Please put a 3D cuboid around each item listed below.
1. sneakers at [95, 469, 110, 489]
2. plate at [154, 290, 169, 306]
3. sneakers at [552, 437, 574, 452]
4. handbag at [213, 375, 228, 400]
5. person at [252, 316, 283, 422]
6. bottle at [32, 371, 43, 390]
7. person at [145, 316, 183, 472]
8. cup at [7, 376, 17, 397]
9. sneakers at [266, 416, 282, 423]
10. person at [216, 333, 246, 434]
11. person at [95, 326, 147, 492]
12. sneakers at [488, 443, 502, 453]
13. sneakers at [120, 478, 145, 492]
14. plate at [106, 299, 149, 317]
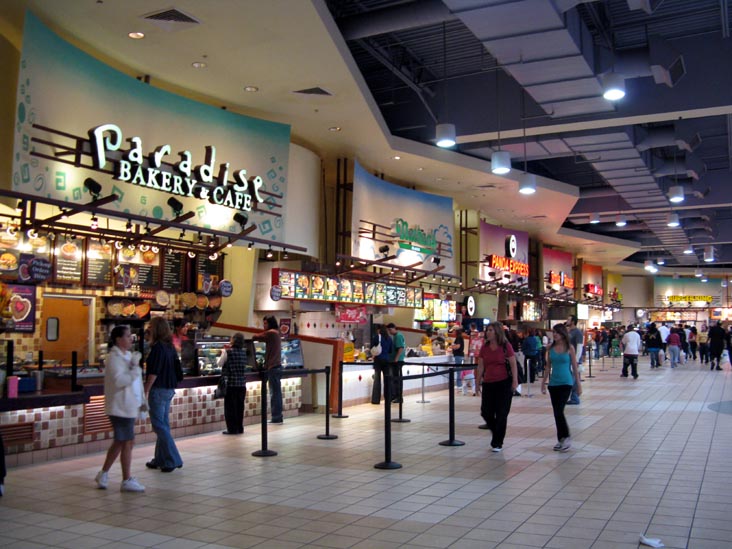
[{"bbox_3d":[-2.686,2.097,5.603,0.111,0.080,0.241,-15,36,-16],"label":"sneakers"},{"bbox_3d":[-4.036,0.464,10.885,0.197,0.317,0.421,-1,-5,5],"label":"plate"},{"bbox_3d":[2.584,2.221,7.251,0.120,0.130,0.337,-2,-6,36],"label":"sneakers"},{"bbox_3d":[-2.218,1.711,8.368,0.155,0.360,0.311,2,-6,-22],"label":"handbag"},{"bbox_3d":[-1.625,1.596,9.287,0.445,1.768,0.721,1,-6,-9],"label":"person"},{"bbox_3d":[-4.041,1.299,6.807,0.077,0.242,0.185,3,-6,-32],"label":"bottle"},{"bbox_3d":[-2.341,1.368,6.336,0.430,1.745,0.465,0,-6,-2],"label":"person"},{"bbox_3d":[-4.042,1.276,6.300,0.111,0.228,0.110,0,-5,0],"label":"cup"},{"bbox_3d":[-1.523,2.437,9.294,0.215,0.102,0.124,0,-5,-9],"label":"sneakers"},{"bbox_3d":[-2.042,1.666,8.461,0.354,1.511,0.470,1,-6,-11],"label":"person"},{"bbox_3d":[-2.527,1.363,5.730,0.447,1.652,0.550,2,-6,-25],"label":"person"},{"bbox_3d":[1.673,2.255,7.185,0.080,0.097,0.219,-1,-11,16],"label":"sneakers"},{"bbox_3d":[-2.335,2.110,5.557,0.246,0.109,0.113,2,-2,-3],"label":"sneakers"},{"bbox_3d":[-4.457,0.636,10.381,0.428,0.104,0.447,25,10,38],"label":"plate"}]
